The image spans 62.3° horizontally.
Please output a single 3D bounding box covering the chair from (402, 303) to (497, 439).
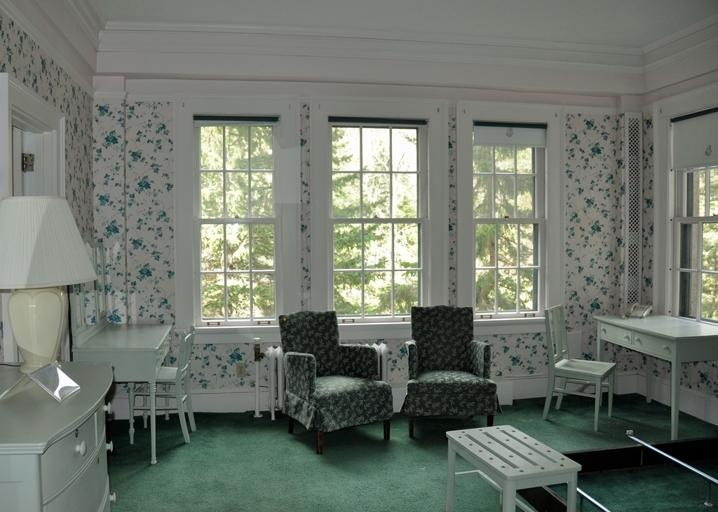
[{"bbox_3d":[0.877,1.081,5.756,0.881,1.065,0.821,1,11,2],"label":"chair"}]

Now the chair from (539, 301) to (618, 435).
[{"bbox_3d":[2.191,1.048,5.864,0.570,1.063,0.570,2,4,40],"label":"chair"}]

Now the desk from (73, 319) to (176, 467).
[{"bbox_3d":[-1.886,1.103,4.804,0.436,0.733,1.161,0,3,-7],"label":"desk"}]

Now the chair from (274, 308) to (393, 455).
[{"bbox_3d":[-0.274,1.114,5.609,0.913,1.147,0.975,1,-3,-37],"label":"chair"}]

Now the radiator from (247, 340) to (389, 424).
[{"bbox_3d":[-0.252,1.175,5.776,0.877,1.106,0.904,-3,-4,-19],"label":"radiator"}]
